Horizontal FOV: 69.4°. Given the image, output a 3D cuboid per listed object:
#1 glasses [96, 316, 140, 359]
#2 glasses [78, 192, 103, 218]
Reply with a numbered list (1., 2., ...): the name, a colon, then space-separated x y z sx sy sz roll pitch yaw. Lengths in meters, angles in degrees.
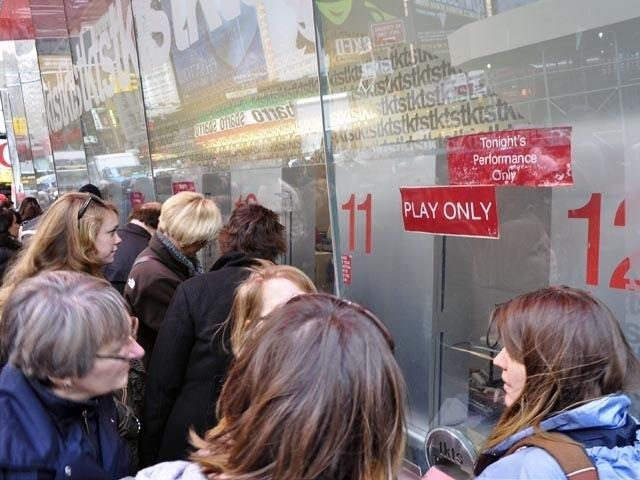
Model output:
1. glasses: -0.635 0.305 1.437 0.085 0.109 0.127 8 -29 -5
2. glasses: -1.144 -0.174 2.281 0.022 0.098 0.061 31 1 16
